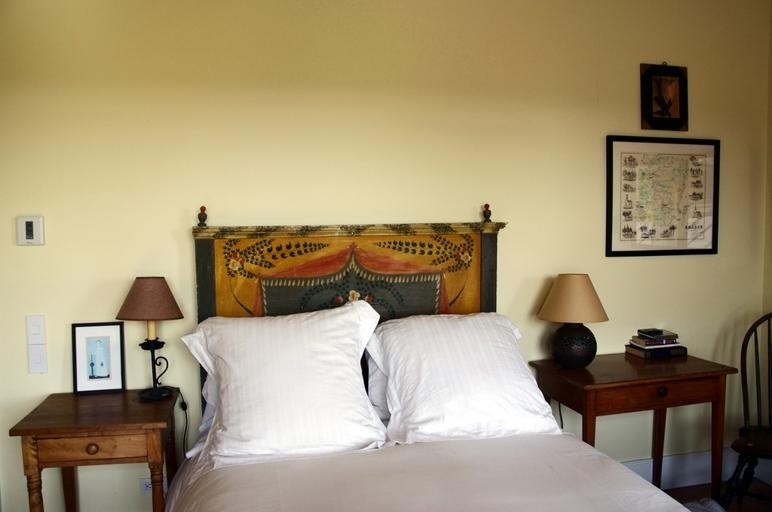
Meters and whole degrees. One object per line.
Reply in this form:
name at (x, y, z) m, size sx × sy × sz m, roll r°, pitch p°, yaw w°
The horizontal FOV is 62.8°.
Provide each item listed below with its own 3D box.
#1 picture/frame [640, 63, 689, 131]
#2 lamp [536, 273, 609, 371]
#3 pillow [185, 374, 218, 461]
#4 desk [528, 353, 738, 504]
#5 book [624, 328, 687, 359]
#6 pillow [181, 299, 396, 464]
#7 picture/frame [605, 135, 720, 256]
picture/frame at (1.832, -1.067, 4.196) m, size 0.475 × 0.551 × 0.039 m, roll 0°, pitch 3°, yaw -13°
lamp at (1.194, 0.412, 4.024) m, size 0.447 × 0.598 × 0.436 m, roll -1°, pitch -1°, yaw -32°
pillow at (-1.025, 0.893, 3.540) m, size 0.180 × 0.484 × 0.073 m, roll 13°, pitch -18°, yaw -14°
desk at (1.577, 1.160, 4.093) m, size 1.014 × 0.916 × 0.717 m, roll -3°, pitch 2°, yaw -12°
book at (1.777, 0.574, 4.142) m, size 0.211 × 0.126 × 0.280 m, roll -2°, pitch 4°, yaw -22°
pillow at (-0.573, 0.810, 3.695) m, size 0.965 × 0.774 × 0.259 m, roll -2°, pitch -28°, yaw -10°
picture/frame at (1.803, -0.424, 4.204) m, size 0.829 × 0.799 × 0.032 m, roll -1°, pitch 0°, yaw -16°
